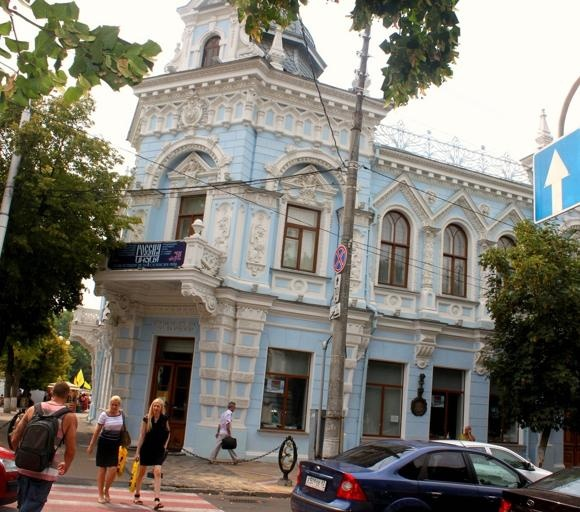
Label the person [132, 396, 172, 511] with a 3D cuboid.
[{"bbox_3d":[-2.382,3.446,10.538,0.570,1.766,1.483,9,-18,-8],"label":"person"}]

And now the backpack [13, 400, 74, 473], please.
[{"bbox_3d":[-2.710,1.987,6.505,0.383,0.748,0.354,4,-18,6],"label":"backpack"}]

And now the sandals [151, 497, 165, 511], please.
[{"bbox_3d":[-2.139,4.090,9.774,0.111,0.188,0.334,10,-31,-30],"label":"sandals"}]

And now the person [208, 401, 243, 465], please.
[{"bbox_3d":[-1.703,4.809,16.340,0.747,1.677,1.512,8,-18,-5],"label":"person"}]

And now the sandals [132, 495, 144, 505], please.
[{"bbox_3d":[-2.537,4.075,10.002,0.164,0.167,0.341,9,-17,-10],"label":"sandals"}]

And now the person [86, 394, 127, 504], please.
[{"bbox_3d":[-3.031,3.216,9.988,0.622,1.705,1.421,11,-18,-14],"label":"person"}]
